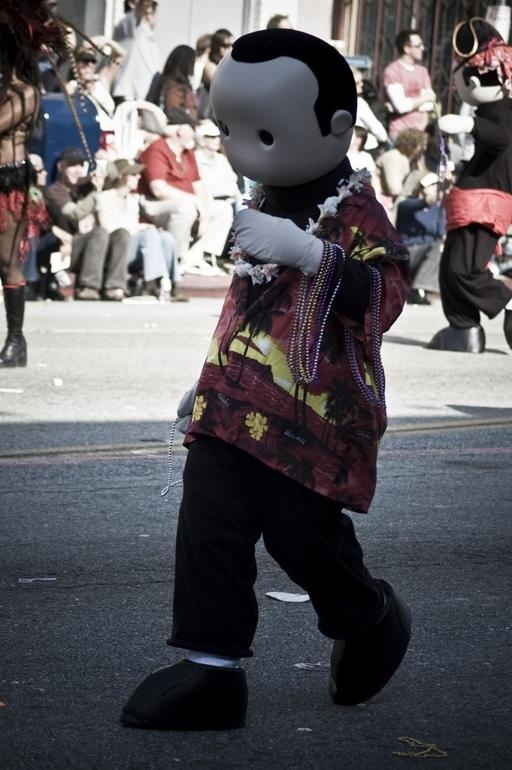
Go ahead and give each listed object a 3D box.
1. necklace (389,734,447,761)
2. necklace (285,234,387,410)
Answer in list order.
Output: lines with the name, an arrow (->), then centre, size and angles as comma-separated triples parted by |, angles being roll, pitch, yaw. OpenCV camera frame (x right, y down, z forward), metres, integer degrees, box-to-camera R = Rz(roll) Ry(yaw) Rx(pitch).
necklace -> 0.294, 0.651, 1.493 | 0.092, 0.011, 0.103 | 4, 3, 13
necklace -> 0.148, -0.114, 1.517 | 0.206, 0.282, 0.074 | 3, 19, 5
